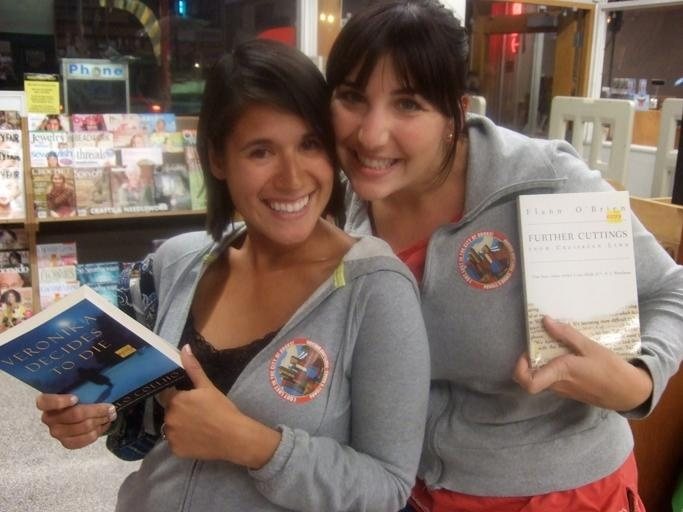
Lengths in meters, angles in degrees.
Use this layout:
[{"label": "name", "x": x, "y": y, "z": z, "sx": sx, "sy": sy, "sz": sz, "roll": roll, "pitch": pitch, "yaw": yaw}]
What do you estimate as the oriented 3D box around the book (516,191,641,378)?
[{"label": "book", "x": 0.620, "y": 0.054, "z": 1.412, "sx": 0.305, "sy": 0.417, "sz": 0.158, "roll": -4, "pitch": 15, "yaw": -4}]
